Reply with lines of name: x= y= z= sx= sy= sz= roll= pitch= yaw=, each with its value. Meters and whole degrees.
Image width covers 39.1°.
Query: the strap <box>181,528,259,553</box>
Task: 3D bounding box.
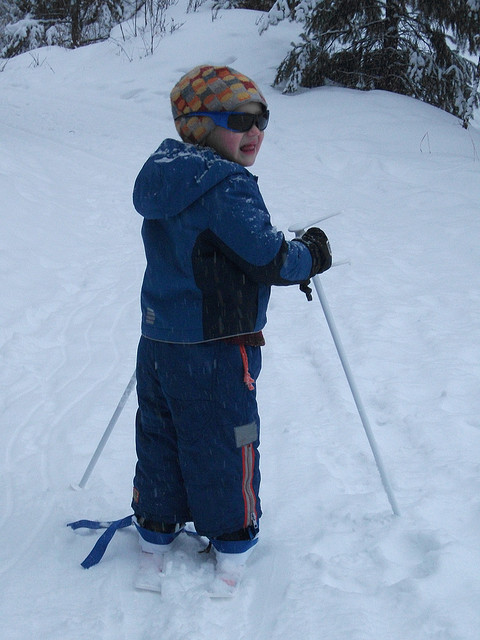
strap: x=-0.063 y=0.796 z=2.438 sx=0.248 sy=0.053 sz=0.143 roll=5 pitch=-20 yaw=-5

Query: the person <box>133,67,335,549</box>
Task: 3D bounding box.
person: x=-0.060 y=0.011 z=2.293 sx=0.656 sy=1.644 sz=0.442 roll=2 pitch=21 yaw=6
